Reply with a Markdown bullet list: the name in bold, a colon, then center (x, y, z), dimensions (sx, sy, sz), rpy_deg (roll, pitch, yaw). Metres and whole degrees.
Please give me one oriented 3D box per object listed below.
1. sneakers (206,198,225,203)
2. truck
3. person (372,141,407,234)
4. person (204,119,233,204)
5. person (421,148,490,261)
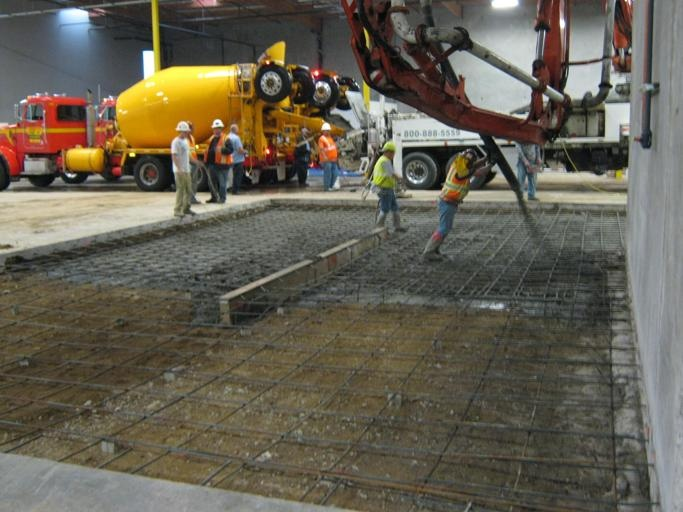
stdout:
- **sneakers**: center (-2.745, -1.202, 11.814), dimensions (0.321, 0.147, 0.102), rpy_deg (-8, 8, 10)
- **truck**: center (3.383, -2.760, 13.443), dimensions (7.457, 2.718, 3.125), rpy_deg (1, 11, 11)
- **person**: center (0.700, -0.995, 7.982), dimensions (0.475, 1.321, 0.856), rpy_deg (0, 11, 7)
- **person**: center (-2.680, -2.049, 11.821), dimensions (0.571, 1.739, 0.741), rpy_deg (-4, 11, -13)
- **person**: center (1.314, -0.586, 6.247), dimensions (0.685, 1.239, 0.566), rpy_deg (3, 11, 19)
